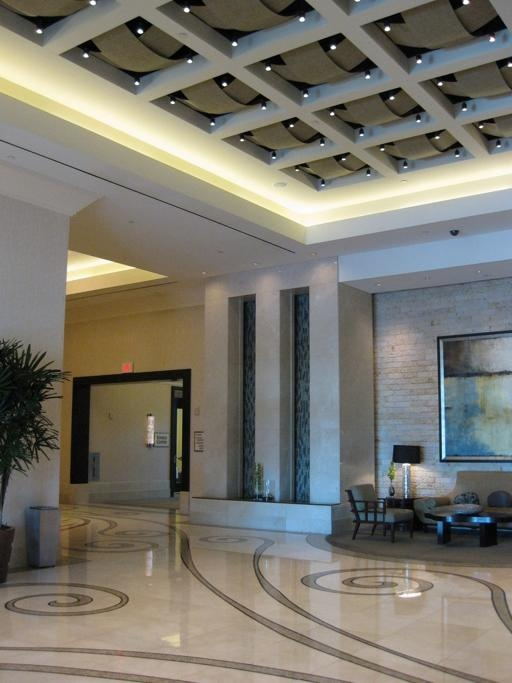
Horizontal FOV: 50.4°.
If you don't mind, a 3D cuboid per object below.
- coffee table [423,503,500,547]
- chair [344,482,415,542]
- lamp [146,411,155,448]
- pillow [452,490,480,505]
[{"bbox_3d":[3.036,2.694,8.283,0.979,0.601,1.828,-2,-6,11],"label":"coffee table"},{"bbox_3d":[1.865,2.719,8.831,1.087,0.933,0.841,-9,-11,36],"label":"chair"},{"bbox_3d":[-3.152,2.647,16.322,0.117,0.971,0.347,-5,-8,30],"label":"lamp"},{"bbox_3d":[3.405,2.508,8.793,0.236,0.110,0.315,-5,-9,28],"label":"pillow"}]
